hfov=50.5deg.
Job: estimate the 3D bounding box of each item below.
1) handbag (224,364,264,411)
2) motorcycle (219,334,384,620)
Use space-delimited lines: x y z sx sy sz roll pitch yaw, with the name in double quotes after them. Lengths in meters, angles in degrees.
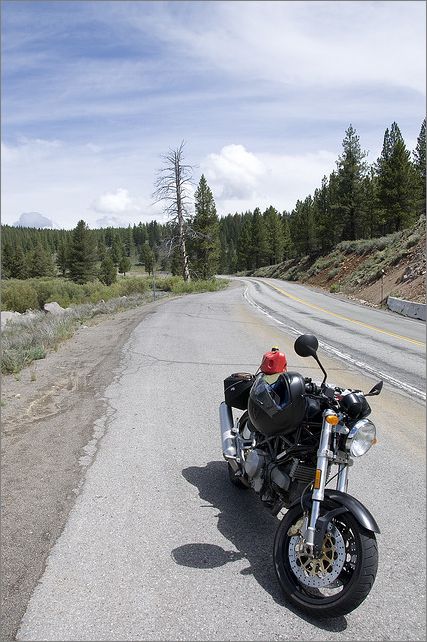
0.234 0.646 4.212 0.301 0.406 0.384 8 -33 -40 "handbag"
0.554 0.972 3.174 0.567 1.749 1.715 -2 7 -17 "motorcycle"
